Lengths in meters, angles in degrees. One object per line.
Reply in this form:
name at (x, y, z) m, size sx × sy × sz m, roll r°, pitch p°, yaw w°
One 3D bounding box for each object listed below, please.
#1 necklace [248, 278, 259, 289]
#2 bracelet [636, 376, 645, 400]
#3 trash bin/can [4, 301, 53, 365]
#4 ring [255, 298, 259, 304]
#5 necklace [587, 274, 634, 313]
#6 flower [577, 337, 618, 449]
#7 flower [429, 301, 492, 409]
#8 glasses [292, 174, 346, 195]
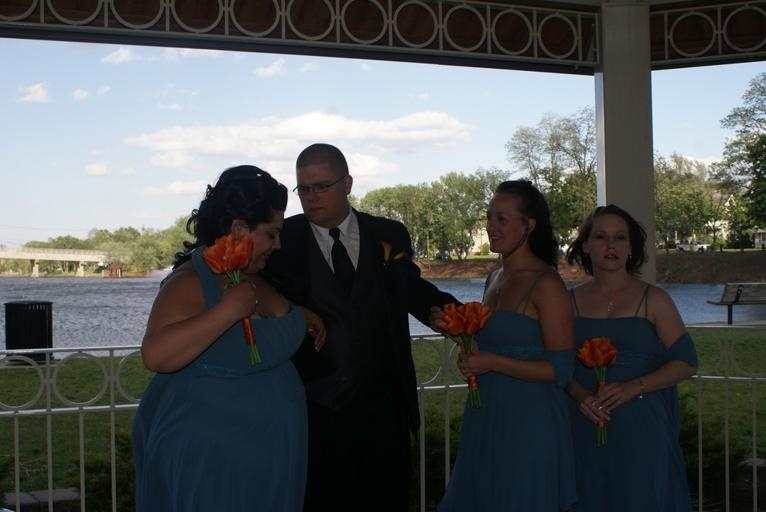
necklace at (-0.997, 0.217, 5.277) m, size 0.055 × 0.070 × 0.027 m, roll -1°, pitch -33°, yaw -47°
bracelet at (2.114, 1.091, 5.653) m, size 0.037 × 0.142 × 0.089 m, roll 3°, pitch 5°, yaw -7°
trash bin/can at (-6.345, 1.241, 12.328) m, size 0.719 × 0.782 × 0.530 m, roll -2°, pitch 0°, yaw -34°
ring at (-0.961, 0.350, 5.271) m, size 0.034 × 0.035 × 0.042 m, roll 0°, pitch -7°, yaw -3°
necklace at (1.928, 0.336, 5.886) m, size 0.389 × 0.307 × 0.119 m, roll -3°, pitch -8°, yaw 9°
flower at (1.760, 1.113, 5.658) m, size 0.298 × 0.892 × 0.303 m, roll -2°, pitch 0°, yaw 16°
flower at (0.669, 0.813, 5.675) m, size 0.430 × 0.820 × 0.342 m, roll -2°, pitch 0°, yaw 4°
glasses at (-0.557, -0.587, 5.900) m, size 0.215 × 0.061 × 0.233 m, roll -9°, pitch 15°, yaw 30°
